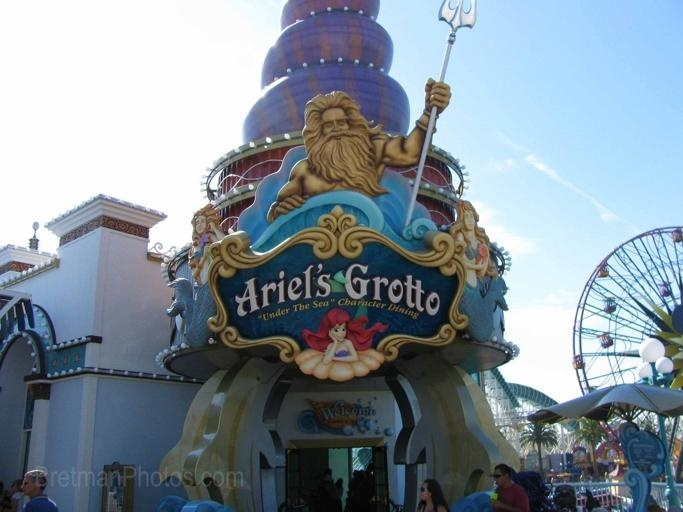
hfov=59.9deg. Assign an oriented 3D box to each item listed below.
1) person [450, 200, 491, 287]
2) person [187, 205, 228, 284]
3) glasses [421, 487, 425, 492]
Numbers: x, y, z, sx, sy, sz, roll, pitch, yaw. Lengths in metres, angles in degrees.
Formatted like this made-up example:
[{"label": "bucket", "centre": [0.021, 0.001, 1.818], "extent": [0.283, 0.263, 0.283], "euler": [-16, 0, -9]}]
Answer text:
[{"label": "person", "centre": [3.214, -0.313, 14.663], "extent": [1.086, 2.105, 0.403], "euler": [13, -25, -38]}, {"label": "person", "centre": [-3.339, -0.413, 14.589], "extent": [0.724, 2.167, 1.014], "euler": [11, -24, -34]}, {"label": "glasses", "centre": [1.333, 3.748, 9.539], "extent": [0.048, 0.059, 0.021], "euler": [-5, -13, 18]}]
